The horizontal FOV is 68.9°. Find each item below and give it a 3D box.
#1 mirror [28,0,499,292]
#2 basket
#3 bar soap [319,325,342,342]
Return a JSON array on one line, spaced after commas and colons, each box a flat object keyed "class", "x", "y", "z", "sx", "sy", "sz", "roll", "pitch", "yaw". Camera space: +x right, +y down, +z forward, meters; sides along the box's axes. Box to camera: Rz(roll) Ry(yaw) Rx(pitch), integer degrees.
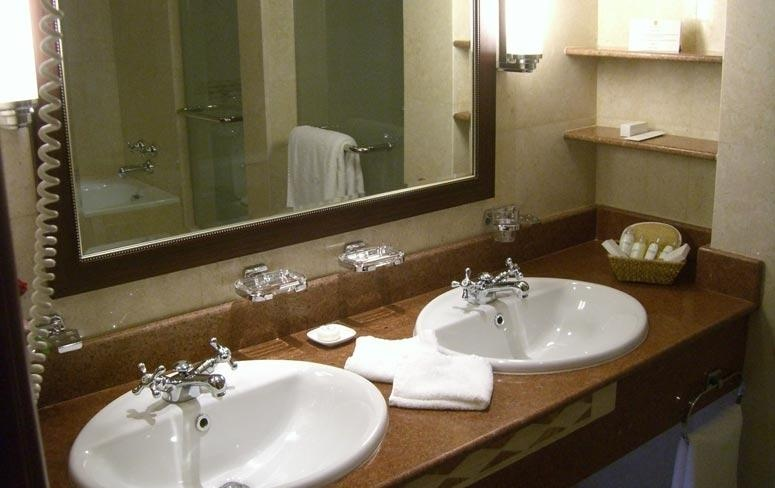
[{"class": "mirror", "x": -0.397, "y": -0.307, "z": 1.675, "sx": 0.996, "sy": 0.570, "sz": 0.020, "roll": -18, "pitch": 32, "yaw": -32}, {"class": "basket", "x": 1.001, "y": 0.023, "z": 2.173, "sx": 0.278, "sy": 0.177, "sz": 0.321, "roll": 7, "pitch": 22, "yaw": 30}, {"class": "bar soap", "x": -0.179, "y": 0.276, "z": 1.776, "sx": 0.064, "sy": 0.019, "sz": 0.091, "roll": -5, "pitch": 19, "yaw": -4}]
